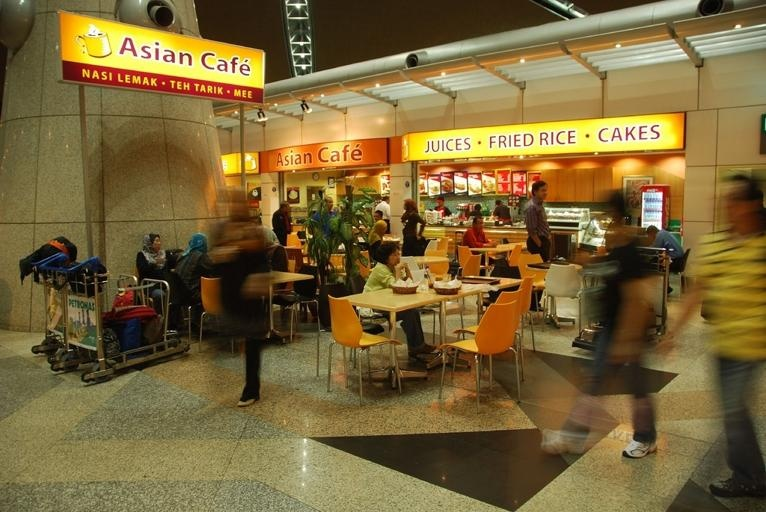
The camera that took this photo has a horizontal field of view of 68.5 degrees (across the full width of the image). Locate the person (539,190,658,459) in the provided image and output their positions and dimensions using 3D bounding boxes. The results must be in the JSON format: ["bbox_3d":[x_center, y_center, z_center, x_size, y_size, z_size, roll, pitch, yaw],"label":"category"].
[{"bbox_3d":[2.323,0.672,5.863,0.993,2.673,0.917,1,9,26],"label":"person"}]

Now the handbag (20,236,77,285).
[{"bbox_3d":[-4.856,0.067,8.194,0.541,0.507,0.771,19,30,22],"label":"handbag"}]

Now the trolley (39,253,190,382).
[{"bbox_3d":[-4.077,0.777,8.363,1.935,1.351,1.950,0,3,36],"label":"trolley"}]

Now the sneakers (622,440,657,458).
[{"bbox_3d":[2.590,1.954,5.704,0.421,0.170,0.132,0,-2,-8],"label":"sneakers"}]

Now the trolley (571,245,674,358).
[{"bbox_3d":[3.505,0.560,8.381,1.331,1.336,1.317,3,16,25],"label":"trolley"}]
